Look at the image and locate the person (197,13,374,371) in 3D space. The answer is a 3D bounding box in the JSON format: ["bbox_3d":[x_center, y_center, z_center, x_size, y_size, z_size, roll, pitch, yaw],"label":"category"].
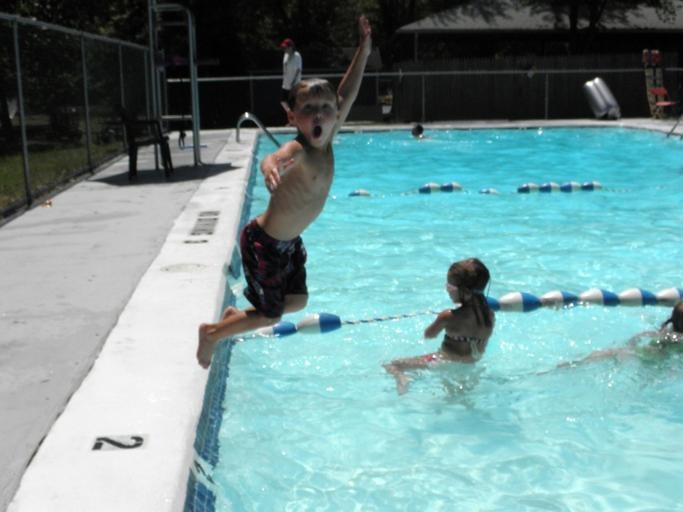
[{"bbox_3d":[-0.259,-0.386,3.406,0.653,1.899,1.268,8,17,44],"label":"person"}]

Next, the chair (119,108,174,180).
[{"bbox_3d":[-3.383,-1.969,10.285,0.847,1.177,0.869,-2,10,0],"label":"chair"}]
